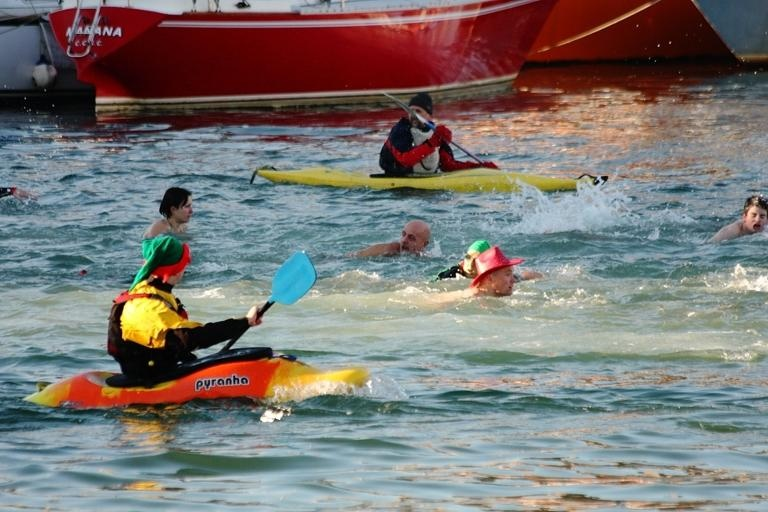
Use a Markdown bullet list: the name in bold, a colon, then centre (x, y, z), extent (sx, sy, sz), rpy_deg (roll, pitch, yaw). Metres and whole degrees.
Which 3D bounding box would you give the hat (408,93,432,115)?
- **hat**: centre (0.636, -2.658, 17.776), extent (0.416, 0.508, 0.413), rpy_deg (10, 43, -2)

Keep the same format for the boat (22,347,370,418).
- **boat**: centre (-1.689, 1.249, 10.137), extent (4.154, 0.382, 0.901), rpy_deg (-1, -1, 2)

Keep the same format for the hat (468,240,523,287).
- **hat**: centre (1.344, 0.161, 12.456), extent (0.504, 0.707, 0.387), rpy_deg (11, 46, -2)

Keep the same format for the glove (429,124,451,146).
- **glove**: centre (0.967, -2.075, 17.726), extent (0.358, 0.536, 0.292), rpy_deg (11, 46, -2)

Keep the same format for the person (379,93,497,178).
- **person**: centre (0.863, -2.015, 17.848), extent (1.742, 1.700, 0.788), rpy_deg (6, 47, -4)
